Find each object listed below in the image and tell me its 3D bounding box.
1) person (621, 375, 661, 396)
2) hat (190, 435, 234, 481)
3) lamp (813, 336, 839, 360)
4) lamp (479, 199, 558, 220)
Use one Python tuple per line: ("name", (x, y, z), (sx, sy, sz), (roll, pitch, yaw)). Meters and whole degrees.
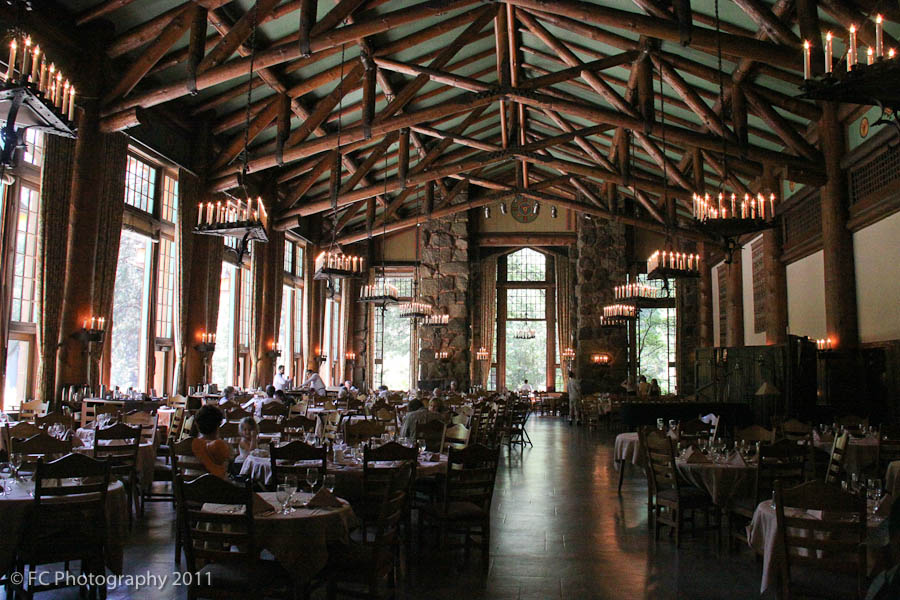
("person", (5.868, 2.678, 24.690), (0.877, 0.422, 1.259), (1, -5, 12))
("hat", (-2.804, 1.828, 9.523), (0.421, 0.465, 0.326), (2, -10, -7))
("lamp", (7.405, 0.940, 16.034), (0.434, 0.611, 0.427), (7, -5, -38))
("lamp", (2.605, -3.247, 29.231), (2.474, 0.831, 0.770), (-1, -10, 7))
